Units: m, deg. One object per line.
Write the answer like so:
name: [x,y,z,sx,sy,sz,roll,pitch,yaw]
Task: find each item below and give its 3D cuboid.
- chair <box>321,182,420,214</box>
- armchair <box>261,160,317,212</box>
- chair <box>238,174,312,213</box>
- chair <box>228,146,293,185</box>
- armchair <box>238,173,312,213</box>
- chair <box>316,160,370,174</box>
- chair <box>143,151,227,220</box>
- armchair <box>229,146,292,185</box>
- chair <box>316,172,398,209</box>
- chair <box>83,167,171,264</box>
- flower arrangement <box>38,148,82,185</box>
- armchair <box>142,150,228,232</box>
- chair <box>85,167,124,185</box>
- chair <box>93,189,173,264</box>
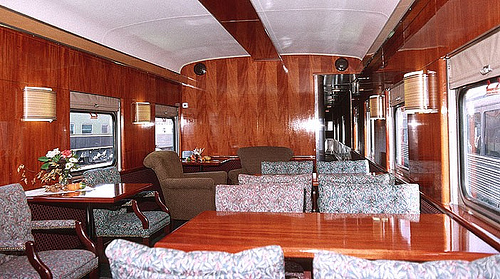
chair: [1.237,0.632,3.347,0.530,0.213,0.531,0,-4,0]
armchair: [0.622,0.766,5.422,0.845,0.992,0.815,1,-2,9]
chair: [0.375,0.663,3.865,0.408,0.431,0.662,7,-6,-9]
chair: [0.260,0.547,7.767,1.279,1.237,0.901,-1,-11,7]
armchair: [0.330,0.487,3.640,0.601,0.585,0.578,2,3,12]
chair: [1.600,0.497,5.533,0.777,0.301,0.239,0,-3,6]
chair: [-1.292,0.964,6.792,1.685,1.151,1.370,2,2,23]
armchair: [0.255,0.558,7.781,1.258,1.239,0.896,-1,-11,7]
chair: [1.341,0.691,4.046,0.751,0.300,0.481,1,7,10]
chair: [-2.005,1.235,5.267,1.184,1.338,1.107,2,0,10]
flower arrangement: [-2.919,0.398,4.791,0.469,0.533,0.666,-3,4,-32]
armchair: [-1.362,1.038,6.758,1.581,1.394,1.221,2,2,3]
chair: [-2.455,0.629,5.243,0.229,0.252,0.603,1,4,23]
chair: [-1.959,1.185,5.260,1.164,1.469,1.098,-1,-1,24]
